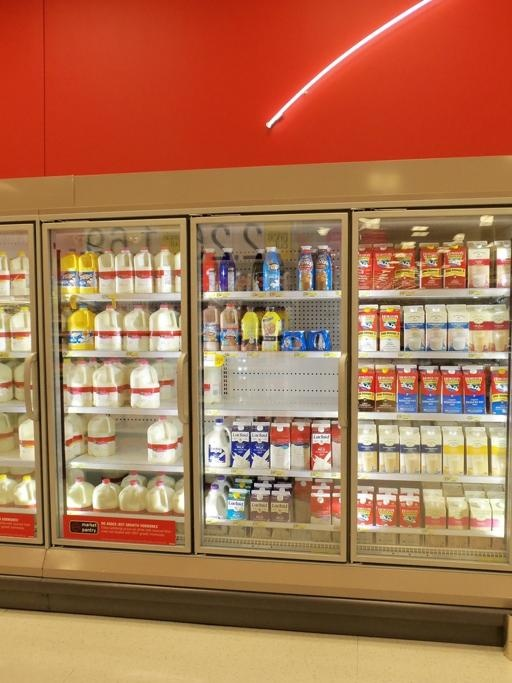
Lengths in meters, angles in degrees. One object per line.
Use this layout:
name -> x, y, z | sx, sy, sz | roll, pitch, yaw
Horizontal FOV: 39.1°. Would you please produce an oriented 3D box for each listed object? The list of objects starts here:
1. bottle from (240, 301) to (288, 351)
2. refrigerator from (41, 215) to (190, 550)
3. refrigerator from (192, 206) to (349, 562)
bottle -> 0.040, -0.069, 3.791 | 0.257, 0.257, 0.153 | 3, 11, 14
refrigerator -> -0.708, 0.213, 3.870 | 0.755, 1.677, 0.588 | -1, 3, 0
refrigerator -> 0.091, 0.212, 3.754 | 0.781, 1.696, 0.531 | 0, 3, 7
